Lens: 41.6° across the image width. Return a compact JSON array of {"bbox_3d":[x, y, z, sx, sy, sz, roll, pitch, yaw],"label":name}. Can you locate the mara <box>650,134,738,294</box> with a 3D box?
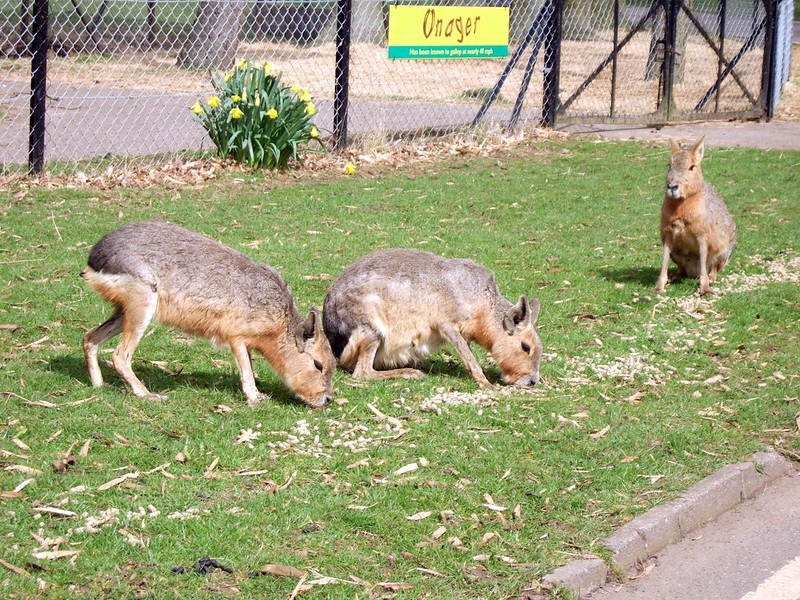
[{"bbox_3d":[3.362,-0.969,12.015,0.812,1.644,1.601,5,10,31],"label":"mara"}]

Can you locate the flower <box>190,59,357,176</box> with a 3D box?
[{"bbox_3d":[-1.991,-2.696,15.551,1.566,1.167,1.683,34,14,13],"label":"flower"}]

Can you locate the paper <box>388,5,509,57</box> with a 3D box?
[{"bbox_3d":[0.819,-4.503,17.837,2.859,0.911,0.270,-11,21,-41],"label":"paper"}]
